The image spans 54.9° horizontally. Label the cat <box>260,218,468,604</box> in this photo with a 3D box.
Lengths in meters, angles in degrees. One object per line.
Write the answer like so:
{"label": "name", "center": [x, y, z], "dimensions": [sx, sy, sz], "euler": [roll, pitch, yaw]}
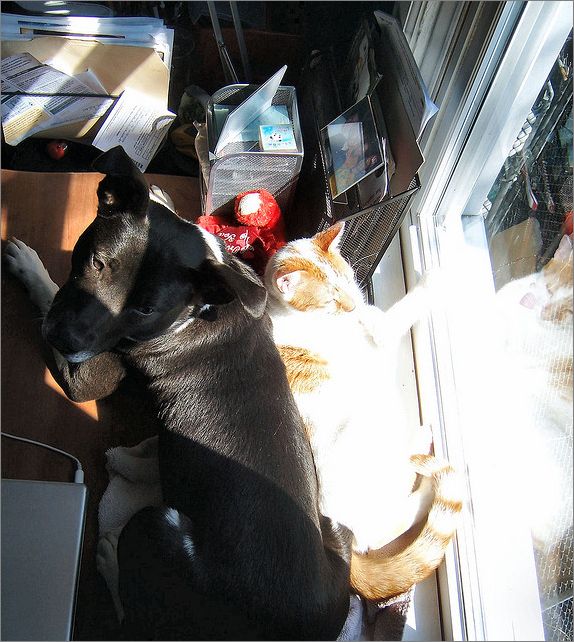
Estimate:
{"label": "cat", "center": [0.201, 0.148, 1.353], "dimensions": [0.440, 0.306, 0.925], "euler": [-20, 63, 6]}

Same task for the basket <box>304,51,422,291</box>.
{"label": "basket", "center": [0.169, -0.375, 1.484], "dimensions": [0.163, 0.562, 0.413], "euler": [2, 57, -18]}
